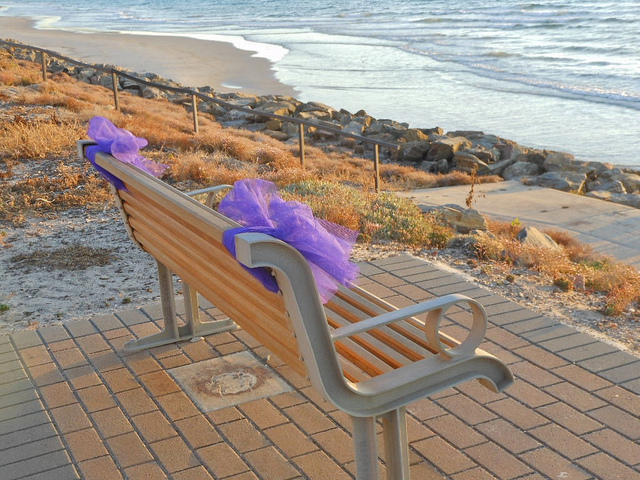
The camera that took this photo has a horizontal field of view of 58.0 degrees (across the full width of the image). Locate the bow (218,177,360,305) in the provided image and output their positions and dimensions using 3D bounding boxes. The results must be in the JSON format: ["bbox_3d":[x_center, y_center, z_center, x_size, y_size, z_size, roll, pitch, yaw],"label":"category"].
[{"bbox_3d":[-0.156,0.006,2.770,0.664,0.556,0.653,-4,22,-14],"label":"bow"}]

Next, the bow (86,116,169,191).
[{"bbox_3d":[-1.362,-0.551,4.024,0.585,0.579,0.557,16,24,31],"label":"bow"}]
